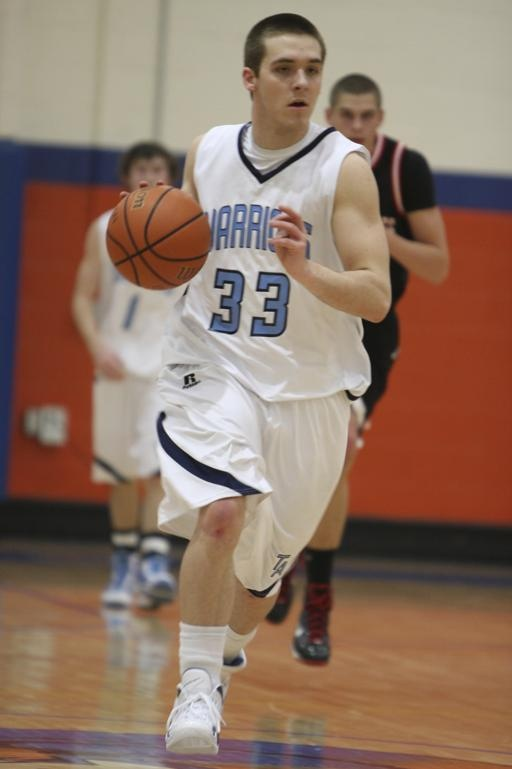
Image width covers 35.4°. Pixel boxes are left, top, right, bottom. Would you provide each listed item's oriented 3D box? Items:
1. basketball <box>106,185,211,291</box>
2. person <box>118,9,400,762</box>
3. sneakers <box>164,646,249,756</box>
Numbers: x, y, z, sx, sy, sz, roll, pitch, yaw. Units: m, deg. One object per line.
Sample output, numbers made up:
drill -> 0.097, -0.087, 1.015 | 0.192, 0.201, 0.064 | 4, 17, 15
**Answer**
basketball -> -0.191, -0.290, 1.533 | 0.220, 0.209, 0.165 | 4, -6, 10
person -> 0.043, -0.066, 1.524 | 0.419, 1.334, 0.537 | 7, -6, -12
sneakers -> -0.078, 0.521, 1.305 | 0.094, 0.092, 0.229 | 2, -8, 2
